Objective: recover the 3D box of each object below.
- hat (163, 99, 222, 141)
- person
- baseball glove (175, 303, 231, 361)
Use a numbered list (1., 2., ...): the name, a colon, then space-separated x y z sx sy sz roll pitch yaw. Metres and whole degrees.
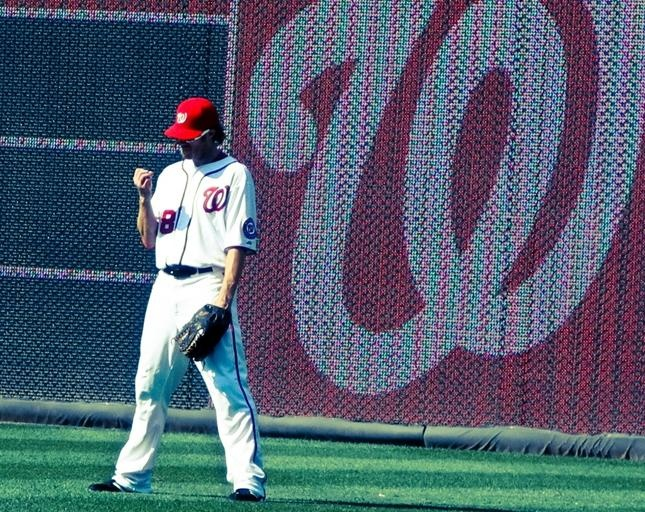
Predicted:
1. hat: -0.808 -0.831 8.812 0.291 0.258 0.427 -1 10 27
2. person: -0.786 0.273 8.700 1.031 2.416 0.575 6 4 -1
3. baseball glove: -0.748 0.385 8.603 0.153 0.339 0.445 28 4 7
